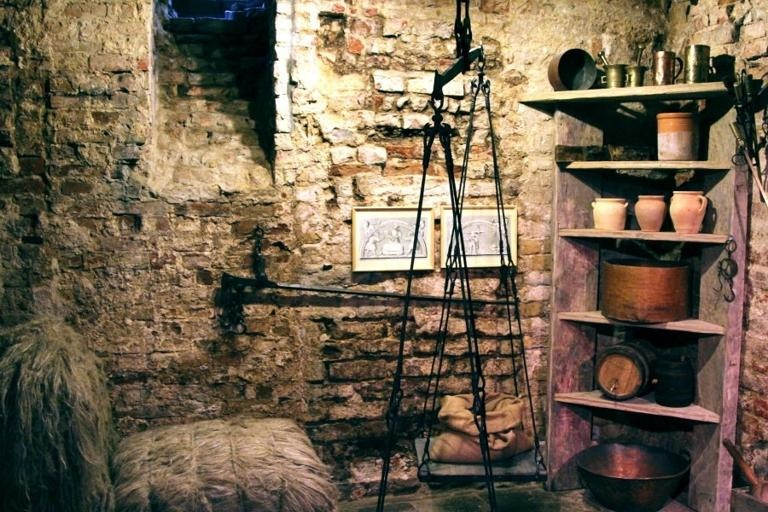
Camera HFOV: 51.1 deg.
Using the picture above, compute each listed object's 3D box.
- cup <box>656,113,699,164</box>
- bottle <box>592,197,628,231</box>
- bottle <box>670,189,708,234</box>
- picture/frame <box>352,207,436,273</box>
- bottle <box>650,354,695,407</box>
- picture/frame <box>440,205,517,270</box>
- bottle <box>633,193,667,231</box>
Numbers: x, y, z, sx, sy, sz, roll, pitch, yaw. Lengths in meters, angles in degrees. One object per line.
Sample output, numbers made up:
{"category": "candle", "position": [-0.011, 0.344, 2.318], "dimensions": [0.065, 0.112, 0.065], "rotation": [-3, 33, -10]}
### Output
{"category": "cup", "position": [1.670, -0.683, 4.699], "dimensions": [0.269, 0.276, 0.260], "rotation": [1, 1, 0]}
{"category": "bottle", "position": [1.312, -0.244, 4.728], "dimensions": [0.212, 0.173, 0.189], "rotation": [1, 10, -1]}
{"category": "bottle", "position": [1.668, -0.235, 4.577], "dimensions": [0.222, 0.254, 0.276], "rotation": [1, 2, -14]}
{"category": "picture/frame", "position": [0.037, -0.111, 4.774], "dimensions": [0.411, 0.285, 0.017], "rotation": [1, 0, -12]}
{"category": "bottle", "position": [1.672, 0.724, 4.643], "dimensions": [0.322, 0.244, 0.311], "rotation": [1, 2, 0]}
{"category": "picture/frame", "position": [0.549, -0.123, 4.779], "dimensions": [0.418, 0.312, 0.020], "rotation": [0, 6, -6]}
{"category": "bottle", "position": [1.545, -0.248, 4.609], "dimensions": [0.143, 0.216, 0.200], "rotation": [2, 2, 39]}
